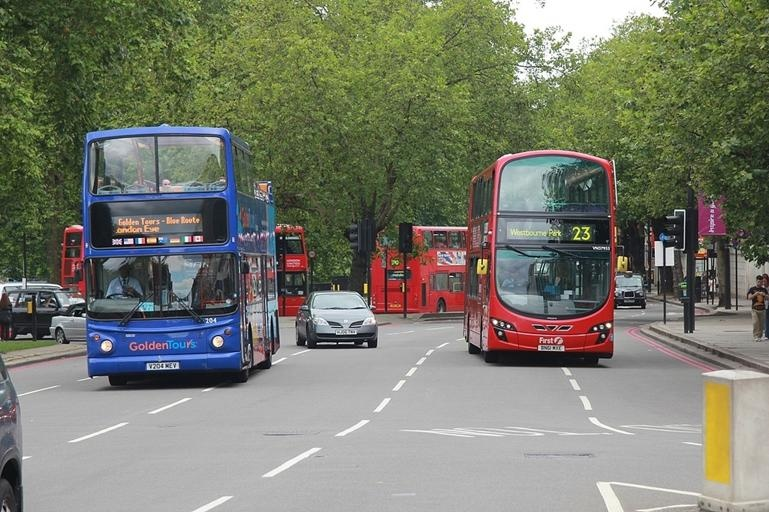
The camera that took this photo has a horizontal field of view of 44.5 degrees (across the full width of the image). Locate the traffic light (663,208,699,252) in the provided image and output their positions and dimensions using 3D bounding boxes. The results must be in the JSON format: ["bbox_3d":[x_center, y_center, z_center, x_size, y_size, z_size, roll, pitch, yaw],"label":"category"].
[{"bbox_3d":[11.413,-1.000,36.060,1.180,1.693,1.026,-2,2,16],"label":"traffic light"}]

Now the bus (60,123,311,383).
[{"bbox_3d":[-4.871,0.012,23.283,3.416,6.385,4.103,-2,2,7],"label":"bus"}]

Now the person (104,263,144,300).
[{"bbox_3d":[-5.933,0.716,21.758,0.926,1.350,0.697,0,-3,-4],"label":"person"}]

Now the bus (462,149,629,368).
[{"bbox_3d":[4.464,-0.002,27.645,4.841,6.253,3.165,-1,2,29],"label":"bus"}]

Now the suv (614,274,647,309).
[{"bbox_3d":[18.346,2.541,70.367,2.515,2.636,5.043,-1,-7,5],"label":"suv"}]
